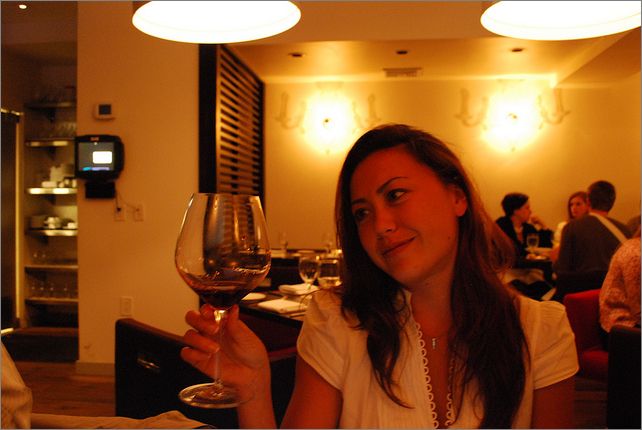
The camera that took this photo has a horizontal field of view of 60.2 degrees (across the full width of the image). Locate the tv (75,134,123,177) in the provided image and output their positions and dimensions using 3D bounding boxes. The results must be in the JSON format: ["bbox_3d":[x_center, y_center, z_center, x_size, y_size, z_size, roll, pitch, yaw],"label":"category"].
[{"bbox_3d":[-1.866,-0.493,4.661,0.346,0.321,0.132,1,2,4],"label":"tv"}]

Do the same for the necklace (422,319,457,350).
[{"bbox_3d":[0.488,0.483,2.298,0.106,0.138,0.054,-1,-6,5],"label":"necklace"}]

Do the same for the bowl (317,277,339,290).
[{"bbox_3d":[0.040,0.433,3.595,0.141,0.051,0.124,1,-4,-19],"label":"bowl"}]

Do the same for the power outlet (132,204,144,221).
[{"bbox_3d":[-1.548,-0.021,4.683,0.101,0.134,0.016,1,1,13],"label":"power outlet"}]
